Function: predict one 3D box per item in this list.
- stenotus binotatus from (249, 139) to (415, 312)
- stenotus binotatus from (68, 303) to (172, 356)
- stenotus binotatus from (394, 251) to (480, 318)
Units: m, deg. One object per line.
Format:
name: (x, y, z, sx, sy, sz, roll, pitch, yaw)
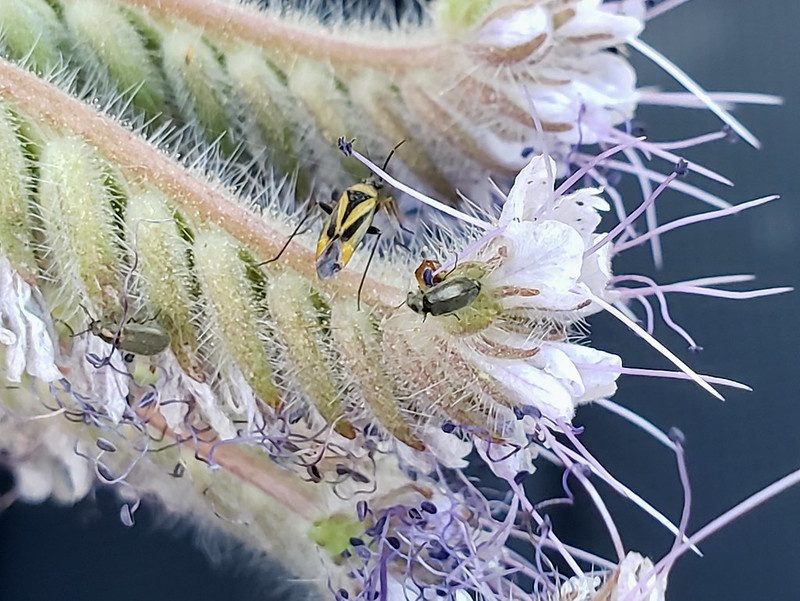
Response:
stenotus binotatus: (-0.050, -0.114, 1.600, 0.159, 0.260, 0.083, 21, 48, -14)
stenotus binotatus: (-0.365, 0.041, 1.571, 0.104, 0.053, 0.038, 15, -9, 2)
stenotus binotatus: (0.045, -0.016, 1.549, 0.054, 0.069, 0.098, 11, 27, -51)
